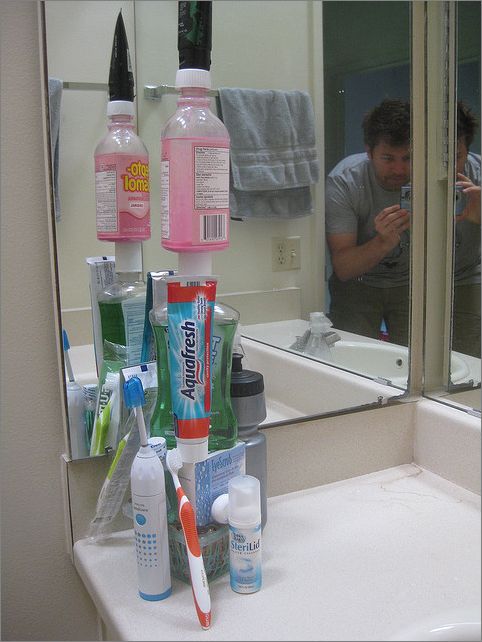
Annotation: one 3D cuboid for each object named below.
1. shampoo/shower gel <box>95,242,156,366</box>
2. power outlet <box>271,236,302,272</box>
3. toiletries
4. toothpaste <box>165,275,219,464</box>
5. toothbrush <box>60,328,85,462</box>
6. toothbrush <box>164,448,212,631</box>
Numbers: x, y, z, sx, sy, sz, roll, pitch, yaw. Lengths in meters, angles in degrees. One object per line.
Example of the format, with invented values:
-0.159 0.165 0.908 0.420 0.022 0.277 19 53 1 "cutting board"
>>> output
-0.128 -0.019 0.626 0.039 0.139 0.049 -1 11 -15 "shampoo/shower gel"
0.058 -0.090 0.745 0.039 0.043 0.005 -6 13 -33 "power outlet"
0.004 0.195 0.515 0.043 0.100 0.042 -4 13 -20 "toiletries"
-0.048 0.040 0.493 0.047 0.148 0.044 0 13 -15 "toothpaste"
-0.179 0.079 0.615 0.022 0.136 0.028 -2 9 -22 "toothbrush"
-0.047 0.187 0.506 0.034 0.146 0.097 -1 8 -12 "toothbrush"
